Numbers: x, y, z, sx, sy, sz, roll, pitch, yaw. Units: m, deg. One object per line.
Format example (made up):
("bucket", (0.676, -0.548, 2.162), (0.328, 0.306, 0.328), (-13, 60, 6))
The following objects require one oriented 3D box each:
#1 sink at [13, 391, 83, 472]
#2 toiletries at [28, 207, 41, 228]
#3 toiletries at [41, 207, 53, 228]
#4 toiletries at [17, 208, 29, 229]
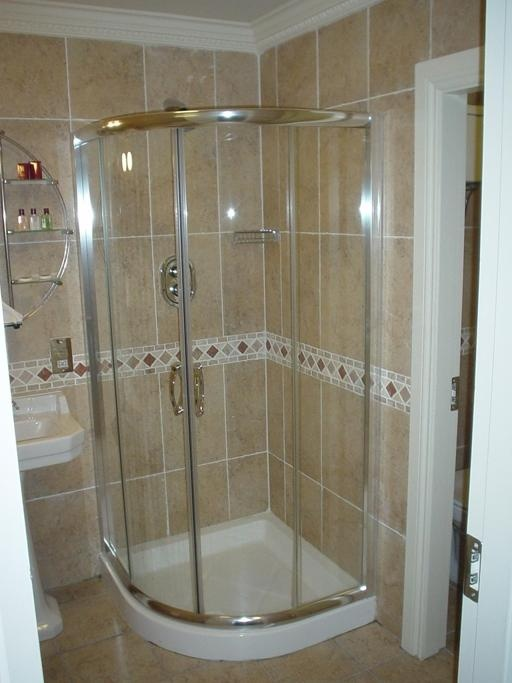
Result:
("sink", (-0.855, 0.365, 2.385), (0.279, 0.191, 0.426), (-4, 9, -24))
("toiletries", (-0.934, -0.507, 2.451), (0.054, 0.088, 0.037), (-12, 14, -41))
("toiletries", (-0.892, -0.517, 2.471), (0.043, 0.090, 0.055), (-7, 11, -21))
("toiletries", (-0.970, -0.501, 2.425), (0.042, 0.084, 0.042), (-10, 12, -34))
